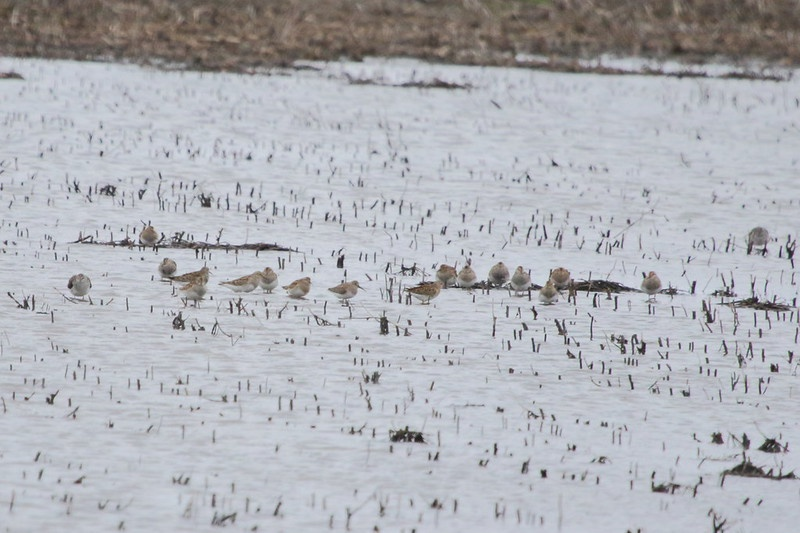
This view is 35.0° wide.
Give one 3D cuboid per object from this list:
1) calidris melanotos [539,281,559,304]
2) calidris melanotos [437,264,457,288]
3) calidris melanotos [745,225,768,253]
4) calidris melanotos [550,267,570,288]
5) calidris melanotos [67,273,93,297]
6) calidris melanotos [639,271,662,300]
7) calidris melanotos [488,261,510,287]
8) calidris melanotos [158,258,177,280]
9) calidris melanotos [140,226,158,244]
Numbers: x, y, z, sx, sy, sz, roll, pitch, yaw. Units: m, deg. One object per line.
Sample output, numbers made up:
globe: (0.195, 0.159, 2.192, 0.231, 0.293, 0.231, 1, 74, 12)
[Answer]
calidris melanotos: (3.826, 0.685, 32.348, 0.421, 0.470, 0.662, -1, 29, 12)
calidris melanotos: (1.244, 0.236, 33.249, 0.477, 0.585, 0.480, -6, 20, 2)
calidris melanotos: (10.510, -0.784, 36.984, 0.705, 0.804, 0.817, 5, 13, 13)
calidris melanotos: (4.244, 0.308, 33.130, 0.388, 0.258, 0.662, 2, -23, 6)
calidris melanotos: (-7.734, 0.465, 30.720, 0.456, 0.448, 0.660, 1, 14, -19)
calidris melanotos: (6.592, 0.382, 33.137, 0.454, 0.572, 0.803, 0, 26, 11)
calidris melanotos: (2.644, 0.205, 33.405, 0.498, 0.649, 0.517, 1, -5, 4)
calidris melanotos: (-5.867, 0.054, 32.001, 0.343, 0.387, 0.609, 3, -13, -7)
calidris melanotos: (-6.851, -0.810, 34.812, 0.518, 0.483, 1.127, 0, -4, 1)
